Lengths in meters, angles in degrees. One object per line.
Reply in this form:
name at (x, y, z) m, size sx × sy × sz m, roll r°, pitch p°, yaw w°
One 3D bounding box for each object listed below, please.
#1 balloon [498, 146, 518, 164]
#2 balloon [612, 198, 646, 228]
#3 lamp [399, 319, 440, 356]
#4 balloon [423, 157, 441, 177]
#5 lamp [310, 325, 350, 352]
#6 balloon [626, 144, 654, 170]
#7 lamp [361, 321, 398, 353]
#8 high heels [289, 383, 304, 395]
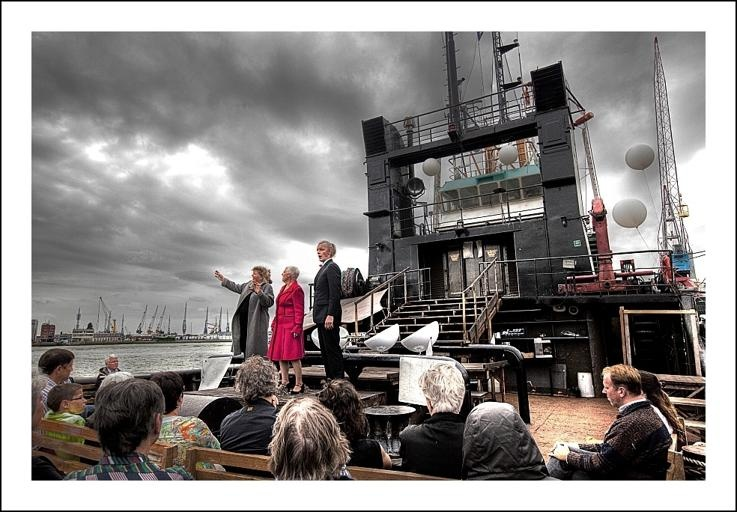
balloon at (4.750, -3.430, 15.620) m, size 0.625 × 0.725 × 0.640 m, roll -8°, pitch 9°, yaw 28°
balloon at (6.691, -1.092, 11.896) m, size 0.715 × 0.708 × 0.817 m, roll -11°, pitch -1°, yaw -15°
lamp at (0.866, 1.399, 7.684) m, size 0.566 × 0.287 × 0.554 m, roll -4°, pitch -30°, yaw -20°
balloon at (2.204, -3.156, 16.367) m, size 0.602 × 0.682 × 0.593 m, roll 8°, pitch -14°, yaw -20°
lamp at (-0.687, 1.549, 8.720) m, size 0.665 × 0.421 × 0.728 m, roll 3°, pitch -15°, yaw 0°
balloon at (6.813, -2.515, 11.589) m, size 0.562 × 0.582 × 0.556 m, roll 3°, pitch -10°, yaw -18°
lamp at (0.195, 1.427, 7.958) m, size 0.518 × 0.481 × 0.690 m, roll -3°, pitch -10°, yaw 19°
high heels at (-0.968, 1.824, 6.250) m, size 0.082 × 0.096 × 0.229 m, roll -17°, pitch -26°, yaw 37°
